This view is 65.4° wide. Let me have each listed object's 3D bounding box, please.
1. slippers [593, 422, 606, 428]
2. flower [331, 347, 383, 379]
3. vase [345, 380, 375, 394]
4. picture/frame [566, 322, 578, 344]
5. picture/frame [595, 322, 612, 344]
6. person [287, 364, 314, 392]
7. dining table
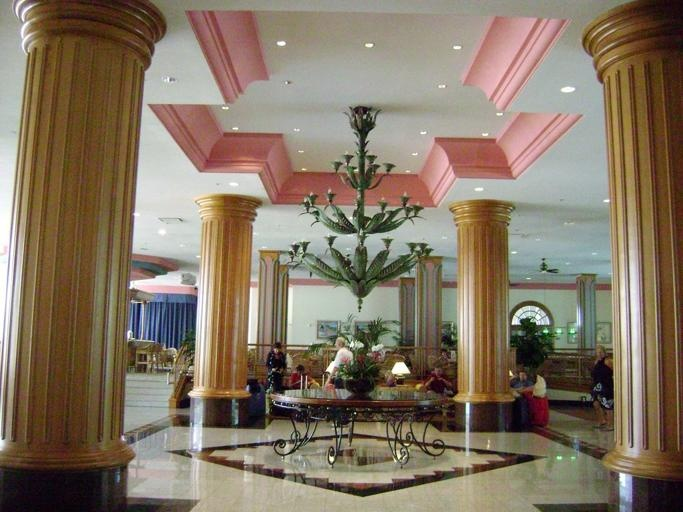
[{"bbox_3d":[5.200,3.439,10.756,0.302,0.111,0.097,-4,-41,9],"label":"slippers"},{"bbox_3d":[0.274,1.540,7.676,0.733,0.366,0.674,0,-7,7],"label":"flower"},{"bbox_3d":[0.252,1.759,7.291,0.282,0.117,0.262,-4,-12,12],"label":"vase"},{"bbox_3d":[10.051,3.315,23.116,0.371,0.952,0.139,2,-11,-6],"label":"picture/frame"},{"bbox_3d":[11.338,3.322,22.851,0.503,0.958,0.519,-4,-12,27],"label":"picture/frame"},{"bbox_3d":[-0.824,2.559,10.932,0.736,0.298,0.902,1,-2,-9],"label":"person"},{"bbox_3d":[0.337,2.491,8.169,2.418,0.935,3.229,0,-9,5],"label":"dining table"}]
